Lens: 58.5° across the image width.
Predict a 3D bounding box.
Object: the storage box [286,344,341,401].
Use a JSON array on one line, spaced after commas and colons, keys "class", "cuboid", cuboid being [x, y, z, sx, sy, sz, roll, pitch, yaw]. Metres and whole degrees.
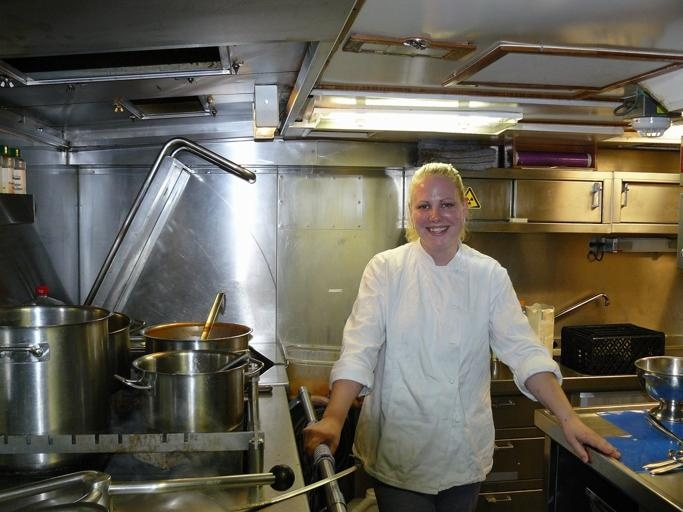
[{"class": "storage box", "cuboid": [-0.193, 0.646, 3.423, 0.438, 0.263, 0.268, 6, -9, -28]}]
